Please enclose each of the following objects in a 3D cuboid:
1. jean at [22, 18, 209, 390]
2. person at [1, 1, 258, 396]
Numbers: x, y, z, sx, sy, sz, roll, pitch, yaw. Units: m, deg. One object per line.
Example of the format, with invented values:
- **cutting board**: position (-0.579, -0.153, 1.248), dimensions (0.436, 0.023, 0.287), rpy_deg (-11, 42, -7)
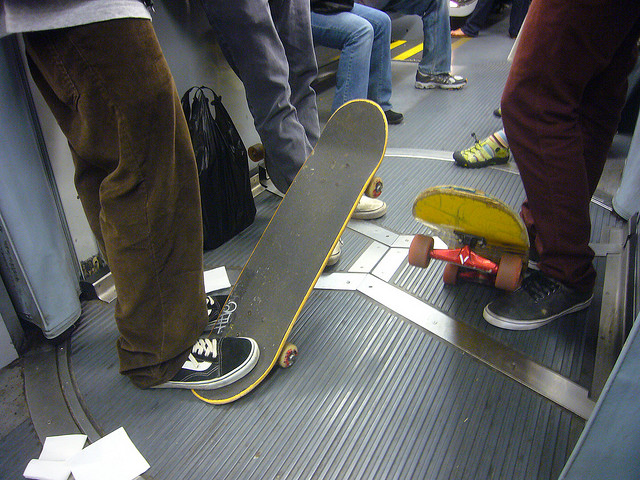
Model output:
- **jean**: position (-0.665, -0.086, 1.840), dimensions (0.464, 1.246, 0.527), rpy_deg (-12, 38, -14)
- **person**: position (-0.642, -0.084, 1.843), dimensions (0.527, 1.350, 0.800), rpy_deg (-23, 43, -27)
